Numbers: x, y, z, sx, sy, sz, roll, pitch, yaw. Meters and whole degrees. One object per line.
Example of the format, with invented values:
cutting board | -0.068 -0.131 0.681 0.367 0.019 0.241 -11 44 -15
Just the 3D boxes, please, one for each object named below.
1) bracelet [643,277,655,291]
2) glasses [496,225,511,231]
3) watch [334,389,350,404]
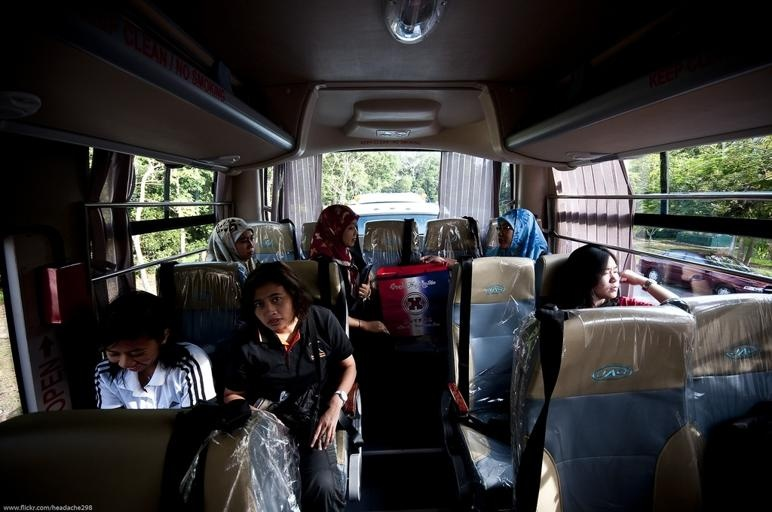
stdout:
bracelet | 1.658 0.185 3.054 0.052 0.082 0.077 4 -36 35
glasses | 1.040 -0.240 4.254 0.095 0.031 0.100 -2 -9 38
watch | -0.235 0.754 2.584 0.063 0.024 0.065 29 27 -40
